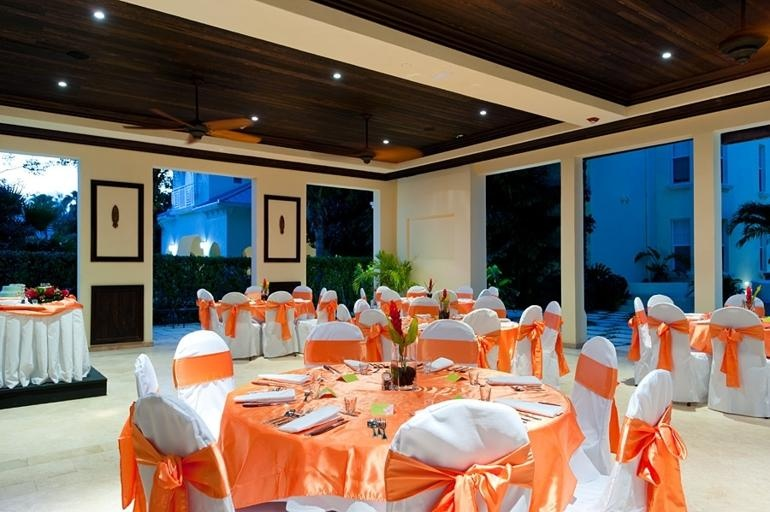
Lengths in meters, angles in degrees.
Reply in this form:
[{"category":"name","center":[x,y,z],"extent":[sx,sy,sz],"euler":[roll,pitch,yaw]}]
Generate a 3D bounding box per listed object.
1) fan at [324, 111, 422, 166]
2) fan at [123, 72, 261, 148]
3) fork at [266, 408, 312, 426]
[{"category":"fan","center":[0.075,-2.005,8.432],"extent":[0.978,0.507,0.983],"euler":[3,9,21]},{"category":"fan","center":[-2.575,-2.049,7.218],"extent":[1.727,0.875,1.794],"euler":[0,1,-35]},{"category":"fork","center":[-0.646,1.056,3.331],"extent":[0.077,0.042,0.292],"euler":[5,0,22]}]
